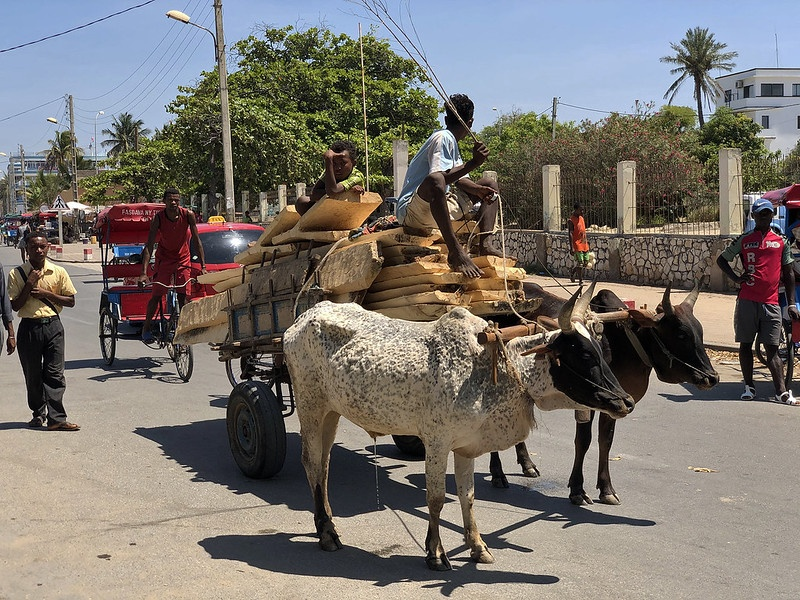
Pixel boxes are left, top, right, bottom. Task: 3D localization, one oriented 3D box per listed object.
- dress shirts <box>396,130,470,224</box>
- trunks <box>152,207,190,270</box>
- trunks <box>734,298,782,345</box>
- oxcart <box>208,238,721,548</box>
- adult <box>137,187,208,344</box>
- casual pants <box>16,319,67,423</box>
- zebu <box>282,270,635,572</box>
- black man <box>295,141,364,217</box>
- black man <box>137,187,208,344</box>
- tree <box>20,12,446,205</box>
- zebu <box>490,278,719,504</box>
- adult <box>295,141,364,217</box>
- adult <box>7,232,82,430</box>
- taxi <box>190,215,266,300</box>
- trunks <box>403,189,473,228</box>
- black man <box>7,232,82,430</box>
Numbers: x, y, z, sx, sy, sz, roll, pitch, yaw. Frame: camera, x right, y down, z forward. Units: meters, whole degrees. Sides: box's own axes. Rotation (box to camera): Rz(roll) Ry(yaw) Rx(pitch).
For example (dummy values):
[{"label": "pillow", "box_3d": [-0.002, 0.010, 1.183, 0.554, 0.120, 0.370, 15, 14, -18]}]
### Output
[{"label": "dress shirts", "box_3d": [0.316, -1.183, 10.265, 0.824, 1.218, 0.989, 2, -1, 3]}, {"label": "trunks", "box_3d": [-3.529, -0.974, 15.703, 0.603, 0.998, 0.492, -8, -4, -15]}, {"label": "trunks", "box_3d": [4.894, 0.269, 13.454, 0.632, 0.659, 0.400, 4, -9, 12]}, {"label": "oxcart", "box_3d": [0.303, 0.660, 10.771, 6.494, 2.800, 2.356, 1, 2, 36]}, {"label": "adult", "box_3d": [-3.617, -0.539, 15.582, 1.179, 2.483, 0.714, -2, 7, -26]}, {"label": "casual pants", "box_3d": [-4.460, 0.867, 12.401, 0.754, 1.348, 0.546, -4, 1, 26]}, {"label": "zebu", "box_3d": [0.295, 1.102, 8.815, 2.984, 2.466, 0.905, 4, 15, 17]}, {"label": "black man", "box_3d": [-0.748, -1.312, 10.640, 0.752, 0.775, 0.783, 1, 14, 4]}, {"label": "black man", "box_3d": [-3.623, -0.523, 15.562, 1.010, 2.511, 0.699, -4, 15, -16]}, {"label": "tree", "box_3d": [-5.238, -7.523, 41.220, 12.070, 7.650, 14.314, -9, 16, -30]}, {"label": "zebu", "box_3d": [2.060, 0.990, 10.438, 0.838, 2.212, 3.080, 0, 1, -37]}, {"label": "adult", "box_3d": [-0.719, -1.329, 10.834, 0.633, 0.490, 0.870, -8, -6, 4]}, {"label": "adult", "box_3d": [-4.427, 0.375, 12.259, 0.721, 2.394, 0.814, -6, 15, -23]}, {"label": "taxi", "box_3d": [-3.140, -0.857, 17.734, 1.208, 1.060, 2.026, -4, 8, -21]}, {"label": "trunks", "box_3d": [0.294, -0.978, 9.679, 0.439, 0.185, 0.461, 12, 21, 33]}, {"label": "black man", "box_3d": [-4.429, 0.374, 12.261, 0.724, 2.394, 0.815, -6, 15, -22]}]
